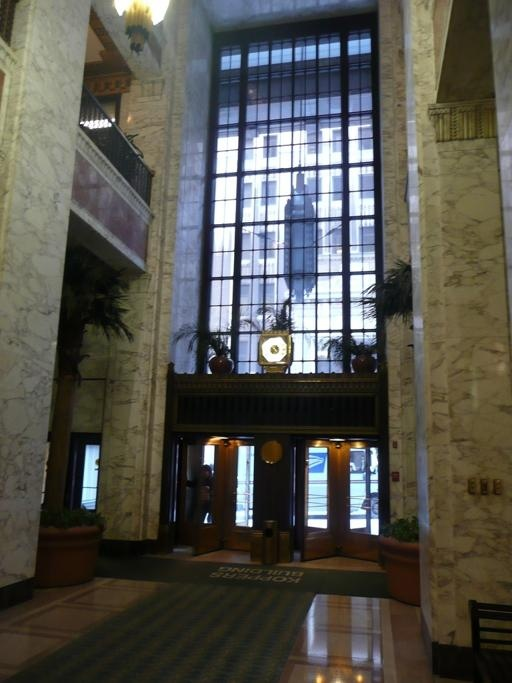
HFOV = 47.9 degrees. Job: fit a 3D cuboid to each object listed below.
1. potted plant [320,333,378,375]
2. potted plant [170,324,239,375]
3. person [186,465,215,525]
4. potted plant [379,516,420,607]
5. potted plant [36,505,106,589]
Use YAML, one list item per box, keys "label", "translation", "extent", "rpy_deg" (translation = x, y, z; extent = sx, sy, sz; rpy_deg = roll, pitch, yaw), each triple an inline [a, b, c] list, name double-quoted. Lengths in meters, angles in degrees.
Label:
- label: "potted plant"
  translation: [1.542, 0.186, 9.030]
  extent: [0.632, 0.446, 0.627]
  rpy_deg: [4, -9, -6]
- label: "potted plant"
  translation: [-0.826, 0.220, 9.446]
  extent: [1.003, 0.954, 0.591]
  rpy_deg: [-2, -28, -2]
- label: "person"
  translation: [-0.880, 2.298, 8.757]
  extent: [0.419, 0.862, 0.276]
  rpy_deg: [-6, -14, 33]
- label: "potted plant"
  translation: [1.455, 2.150, 5.636]
  extent: [0.331, 0.779, 0.645]
  rpy_deg: [8, -13, -26]
- label: "potted plant"
  translation: [-2.041, 2.226, 6.223]
  extent: [0.795, 0.730, 0.843]
  rpy_deg: [-18, -20, 38]
